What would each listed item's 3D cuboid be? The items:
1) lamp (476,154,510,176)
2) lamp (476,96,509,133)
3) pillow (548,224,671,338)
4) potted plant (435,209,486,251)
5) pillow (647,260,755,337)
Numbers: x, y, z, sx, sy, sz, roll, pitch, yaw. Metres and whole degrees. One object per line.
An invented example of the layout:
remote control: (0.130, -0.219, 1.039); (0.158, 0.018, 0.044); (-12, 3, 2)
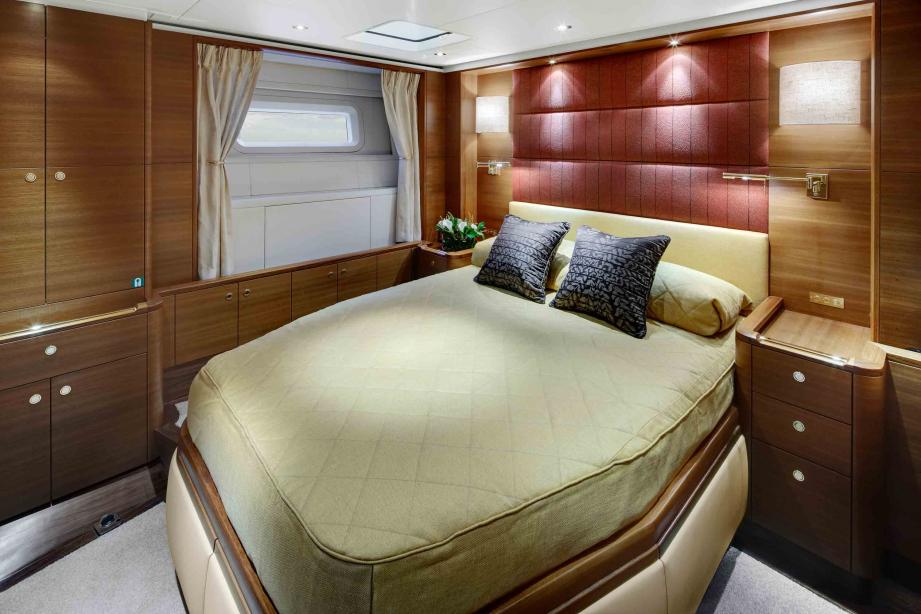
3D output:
lamp: (0.299, -1.367, 5.514); (0.095, 0.173, 0.463); (-10, 21, -33)
lamp: (0.269, -1.802, 5.319); (0.157, 0.323, 0.403); (-13, 23, -39)
pillow: (0.998, -0.197, 3.710); (0.702, 0.702, 0.221); (17, -9, 47)
potted plant: (-0.033, -0.792, 5.755); (0.424, 0.287, 0.413); (-8, 14, -31)
pillow: (1.573, -0.159, 3.677); (0.493, 0.217, 0.501); (-26, 38, -32)
